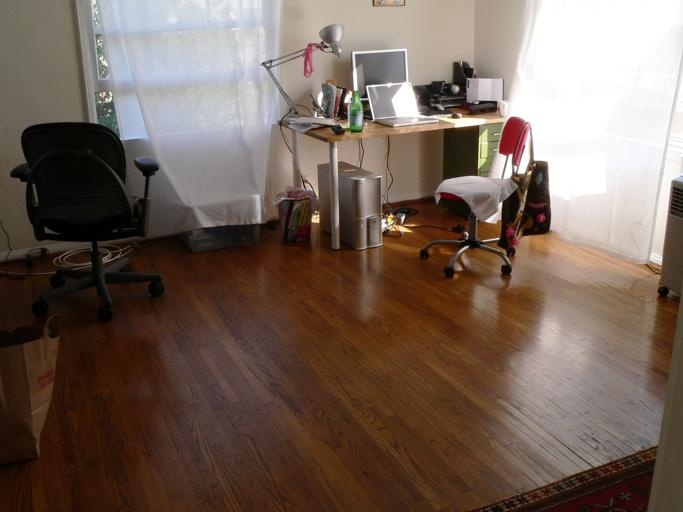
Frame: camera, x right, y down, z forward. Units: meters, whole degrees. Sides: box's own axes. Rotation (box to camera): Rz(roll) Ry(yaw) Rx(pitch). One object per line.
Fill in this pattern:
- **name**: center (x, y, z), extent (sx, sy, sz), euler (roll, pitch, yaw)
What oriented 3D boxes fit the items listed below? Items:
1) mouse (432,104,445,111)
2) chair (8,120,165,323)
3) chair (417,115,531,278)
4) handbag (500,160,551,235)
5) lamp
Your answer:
- **mouse**: center (0.848, -1.306, 4.354), extent (0.099, 0.033, 0.059), euler (30, 35, 18)
- **chair**: center (-1.577, -0.273, 3.190), extent (0.793, 1.166, 0.710), euler (-8, 17, -35)
- **chair**: center (0.982, -0.428, 3.536), extent (0.740, 1.034, 0.633), euler (-12, 24, -22)
- **handbag**: center (1.336, -0.414, 3.558), extent (0.302, 0.532, 0.127), euler (-1, 18, -3)
- **lamp**: center (-0.329, -1.514, 4.106), extent (0.638, 0.692, 0.465), euler (-5, 22, -6)
